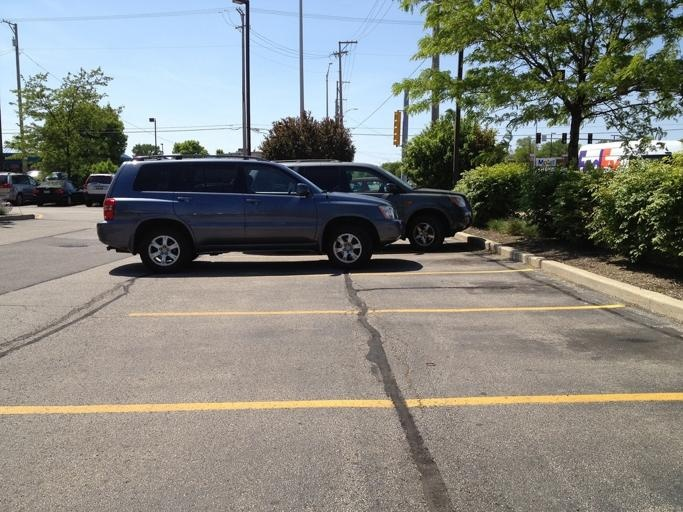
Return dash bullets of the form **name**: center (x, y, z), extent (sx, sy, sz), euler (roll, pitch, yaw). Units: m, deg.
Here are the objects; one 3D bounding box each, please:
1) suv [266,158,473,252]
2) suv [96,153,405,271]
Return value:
- **suv**: center (0.732, -1.292, 13.585), extent (4.525, 1.634, 1.959), euler (-1, 9, 0)
- **suv**: center (-1.793, -0.870, 11.258), extent (5.296, 1.838, 2.336), euler (-1, 6, -4)
